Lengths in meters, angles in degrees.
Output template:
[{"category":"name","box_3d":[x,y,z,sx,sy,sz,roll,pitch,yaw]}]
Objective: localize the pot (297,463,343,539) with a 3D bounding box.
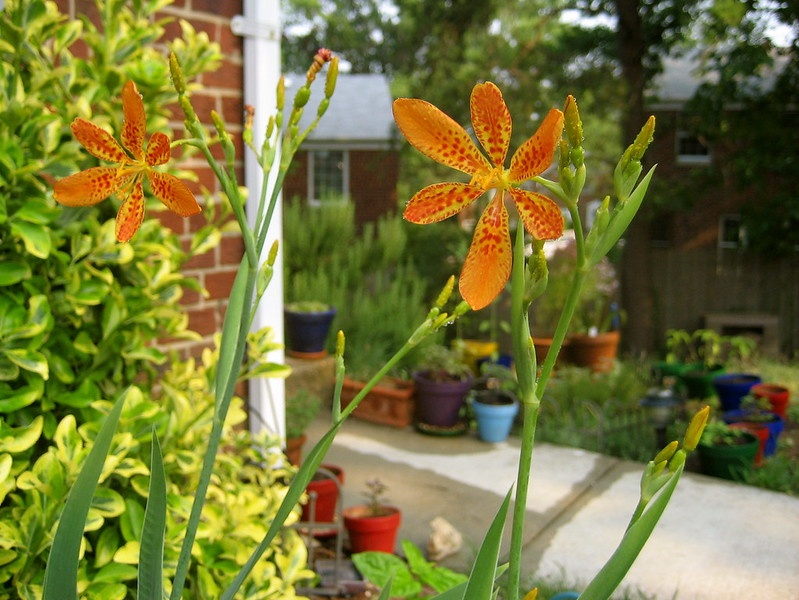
[{"category":"pot","box_3d":[-0.366,0.927,3.100,0.166,0.199,0.180,-1,-9,0]}]

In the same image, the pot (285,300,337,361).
[{"category":"pot","box_3d":[-0.685,0.222,5.141,0.392,0.348,0.405,3,10,-1]}]

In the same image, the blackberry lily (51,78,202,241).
[{"category":"blackberry lily","box_3d":[-0.379,-0.193,0.994,0.183,0.219,0.132,5,3,22]}]

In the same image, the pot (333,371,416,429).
[{"category":"pot","box_3d":[-0.177,0.724,4.896,0.487,0.271,0.511,6,-1,0]}]

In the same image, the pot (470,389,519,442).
[{"category":"pot","box_3d":[0.593,0.748,4.502,0.270,0.259,0.288,4,2,0]}]

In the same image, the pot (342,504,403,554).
[{"category":"pot","box_3d":[-0.115,0.965,2.860,0.228,0.199,0.248,-1,-3,0]}]

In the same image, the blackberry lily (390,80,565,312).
[{"category":"blackberry lily","box_3d":[0.106,-0.142,0.955,0.232,0.304,0.123,4,3,13]}]
